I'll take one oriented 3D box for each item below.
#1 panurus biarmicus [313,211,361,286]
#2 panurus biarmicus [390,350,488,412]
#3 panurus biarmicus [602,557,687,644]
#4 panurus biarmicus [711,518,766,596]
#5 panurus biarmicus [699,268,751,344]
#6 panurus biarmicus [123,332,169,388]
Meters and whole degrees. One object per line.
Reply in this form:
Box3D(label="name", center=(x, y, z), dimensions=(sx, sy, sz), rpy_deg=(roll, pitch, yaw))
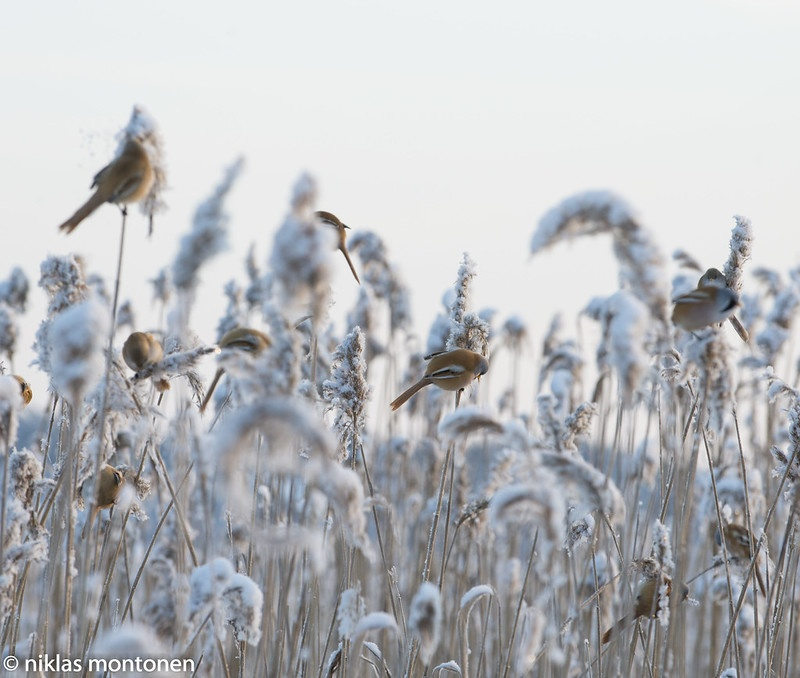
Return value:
Box3D(label="panurus biarmicus", center=(-0.307, -0.421, 7.220), dimensions=(0.216, 0.390, 0.868), rpy_deg=(3, -12, -3))
Box3D(label="panurus biarmicus", center=(0.181, 0.204, 7.223), dimensions=(0.535, 0.360, 0.230), rpy_deg=(9, -12, -25))
Box3D(label="panurus biarmicus", center=(1.174, 1.233, 7.117), dimensions=(0.405, 0.414, 0.590), rpy_deg=(2, -12, 9))
Box3D(label="panurus biarmicus", center=(1.714, 1.081, 7.492), dimensions=(0.245, 0.369, 0.626), rpy_deg=(1, -12, 12))
Box3D(label="panurus biarmicus", center=(1.619, -0.268, 7.500), dimensions=(0.143, 0.282, 0.557), rpy_deg=(-19, 5, 18))
Box3D(label="panurus biarmicus", center=(-1.227, 0.068, 7.114), dimensions=(0.192, 0.221, 0.188), rpy_deg=(6, -11, -12))
